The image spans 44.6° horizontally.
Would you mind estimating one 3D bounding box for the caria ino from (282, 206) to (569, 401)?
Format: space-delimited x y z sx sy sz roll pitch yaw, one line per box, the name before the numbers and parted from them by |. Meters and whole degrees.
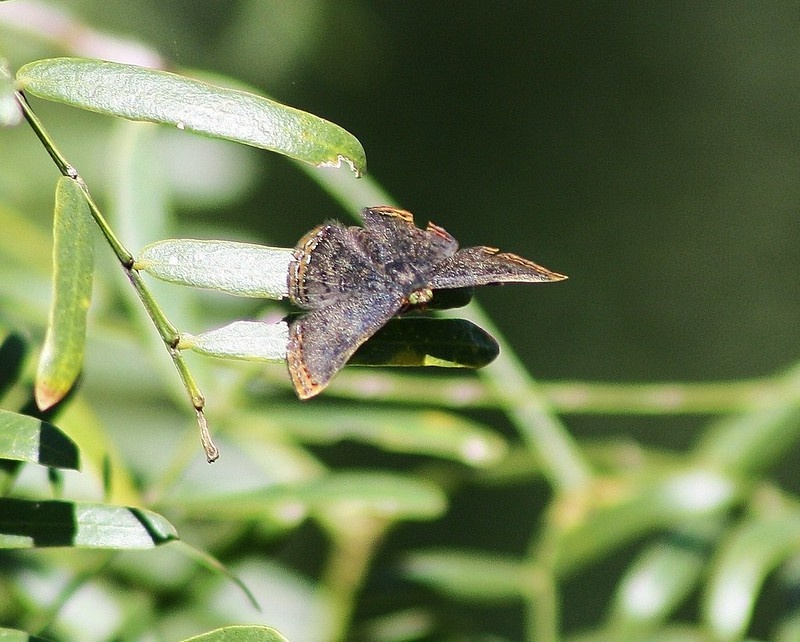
caria ino | -0.035 -0.047 1.210 0.225 0.399 0.053 50 -27 33
